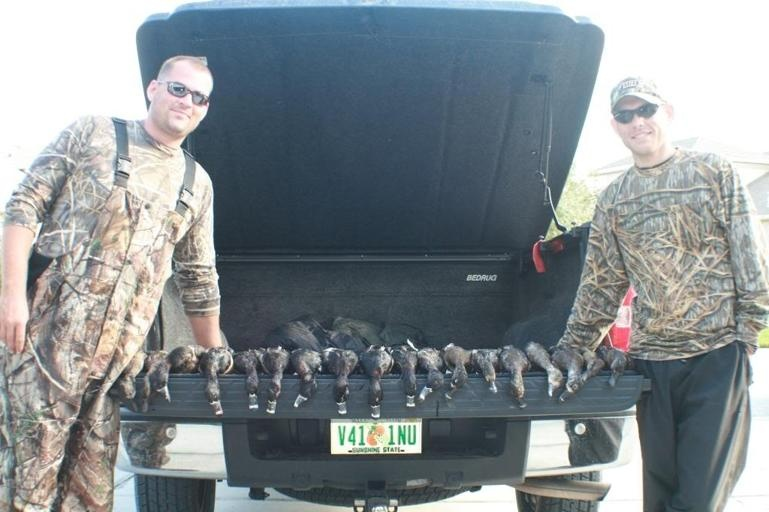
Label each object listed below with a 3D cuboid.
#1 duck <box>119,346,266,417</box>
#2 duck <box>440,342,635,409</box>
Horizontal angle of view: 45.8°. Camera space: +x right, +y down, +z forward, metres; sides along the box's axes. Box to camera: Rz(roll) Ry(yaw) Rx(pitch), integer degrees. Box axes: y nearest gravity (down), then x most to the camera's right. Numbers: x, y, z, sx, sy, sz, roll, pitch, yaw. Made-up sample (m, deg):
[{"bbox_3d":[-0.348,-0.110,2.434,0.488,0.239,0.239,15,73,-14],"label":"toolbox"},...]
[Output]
[{"bbox_3d":[-1.000,0.658,4.787,0.722,0.374,0.224,-3,-11,3],"label":"duck"},{"bbox_3d":[0.804,0.626,4.839,1.049,0.346,0.216,-1,-11,-7],"label":"duck"}]
